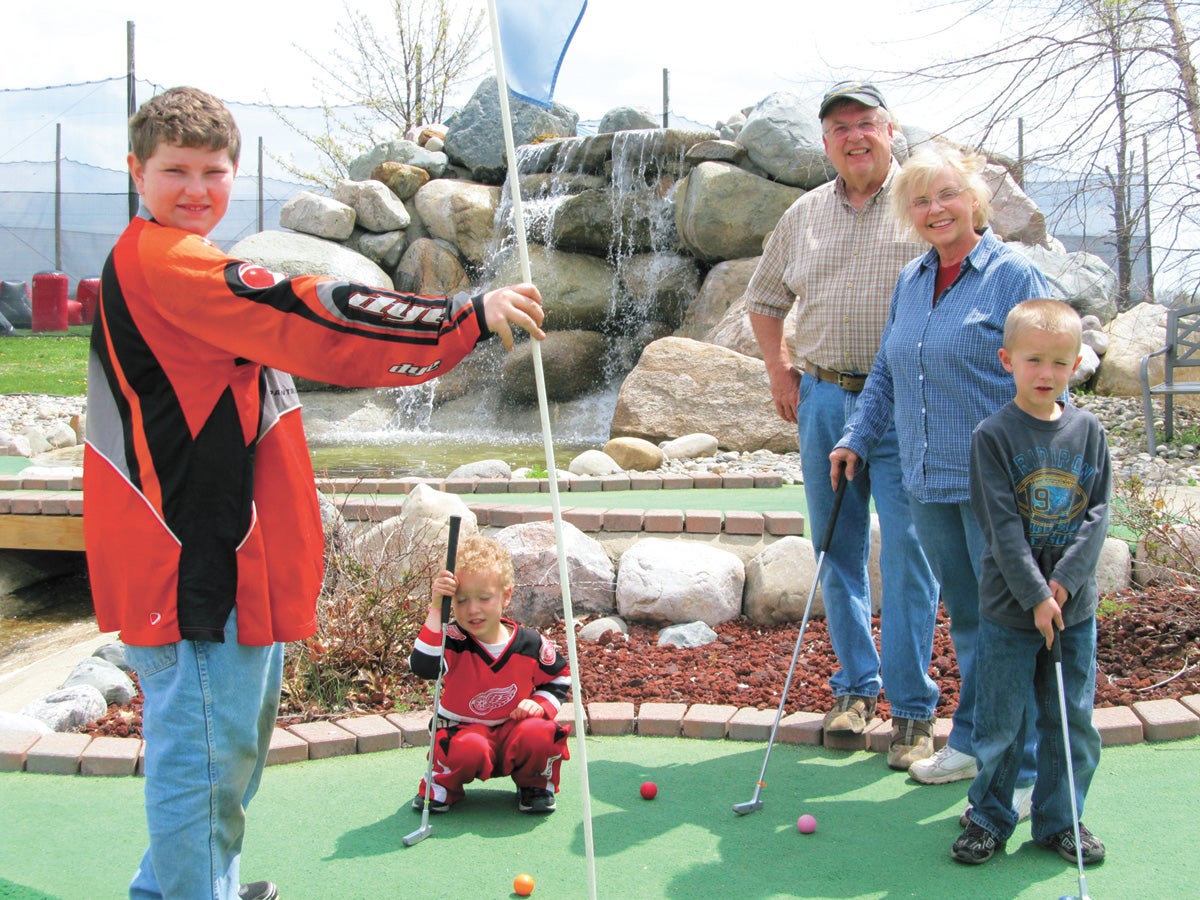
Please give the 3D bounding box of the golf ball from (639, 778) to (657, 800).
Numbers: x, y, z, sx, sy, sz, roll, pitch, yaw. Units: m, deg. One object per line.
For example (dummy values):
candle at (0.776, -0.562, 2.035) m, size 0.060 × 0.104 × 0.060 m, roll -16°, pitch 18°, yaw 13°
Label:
golf ball at (0.183, 1.259, 5.087) m, size 0.059 × 0.058 × 0.066 m, roll 4°, pitch 35°, yaw -9°

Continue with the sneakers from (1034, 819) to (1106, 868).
sneakers at (1.597, 1.335, 4.623) m, size 0.093 × 0.097 × 0.212 m, roll -1°, pitch -6°, yaw -29°

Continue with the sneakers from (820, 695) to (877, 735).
sneakers at (0.997, 1.068, 5.466) m, size 0.096 × 0.112 × 0.274 m, roll -4°, pitch -13°, yaw 21°

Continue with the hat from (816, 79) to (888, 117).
hat at (1.017, -1.402, 5.440) m, size 0.253 × 0.135 × 0.256 m, roll 1°, pitch 3°, yaw 9°

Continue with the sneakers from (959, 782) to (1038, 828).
sneakers at (1.447, 1.313, 4.898) m, size 0.190 × 0.206 × 0.156 m, roll 13°, pitch 6°, yaw -41°

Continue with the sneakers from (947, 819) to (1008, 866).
sneakers at (1.277, 1.333, 4.635) m, size 0.090 × 0.104 × 0.253 m, roll -9°, pitch -17°, yaw 29°

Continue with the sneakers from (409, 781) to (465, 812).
sneakers at (-0.586, 1.285, 5.063) m, size 0.223 × 0.107 × 0.079 m, roll 9°, pitch -4°, yaw -18°

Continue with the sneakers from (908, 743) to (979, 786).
sneakers at (1.302, 1.201, 5.210) m, size 0.290 × 0.122 × 0.103 m, roll 0°, pitch -1°, yaw -5°

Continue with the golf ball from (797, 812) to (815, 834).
golf ball at (0.727, 1.320, 4.841) m, size 0.055 × 0.055 × 0.063 m, roll 24°, pitch 7°, yaw 1°

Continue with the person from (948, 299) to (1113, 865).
person at (1.508, 0.448, 4.669) m, size 0.489 × 1.900 × 0.423 m, roll 2°, pitch 4°, yaw 20°

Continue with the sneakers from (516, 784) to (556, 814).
sneakers at (-0.227, 1.291, 5.021) m, size 0.068 × 0.064 × 0.144 m, roll 4°, pitch -8°, yaw -34°
